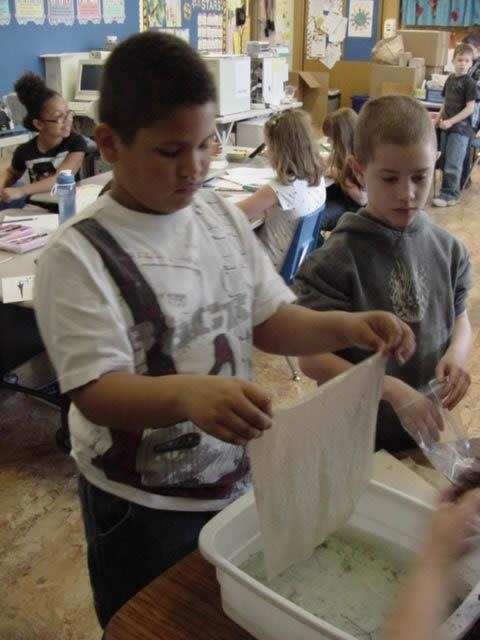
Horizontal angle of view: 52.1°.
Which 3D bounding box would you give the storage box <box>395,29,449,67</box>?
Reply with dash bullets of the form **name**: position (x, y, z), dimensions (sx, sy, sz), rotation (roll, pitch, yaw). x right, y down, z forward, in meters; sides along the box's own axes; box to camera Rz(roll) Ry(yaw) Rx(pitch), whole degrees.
- **storage box**: position (2.492, -3.699, 6.717), dimensions (0.266, 0.327, 0.476), rotation (-27, 43, -29)
